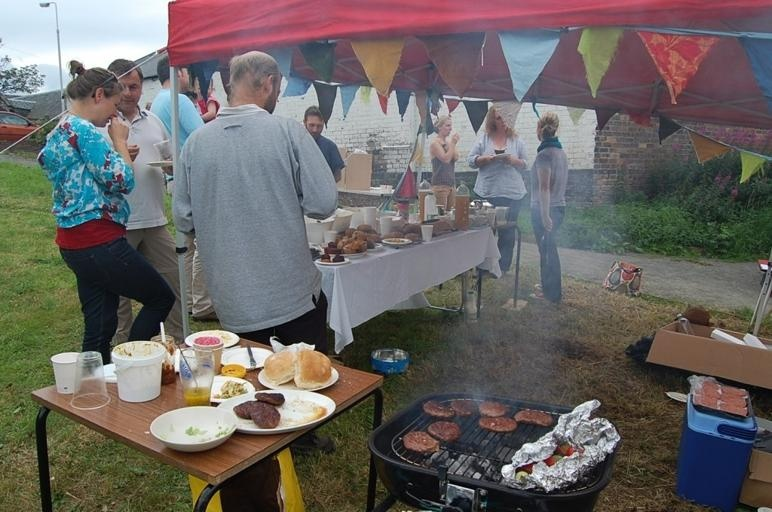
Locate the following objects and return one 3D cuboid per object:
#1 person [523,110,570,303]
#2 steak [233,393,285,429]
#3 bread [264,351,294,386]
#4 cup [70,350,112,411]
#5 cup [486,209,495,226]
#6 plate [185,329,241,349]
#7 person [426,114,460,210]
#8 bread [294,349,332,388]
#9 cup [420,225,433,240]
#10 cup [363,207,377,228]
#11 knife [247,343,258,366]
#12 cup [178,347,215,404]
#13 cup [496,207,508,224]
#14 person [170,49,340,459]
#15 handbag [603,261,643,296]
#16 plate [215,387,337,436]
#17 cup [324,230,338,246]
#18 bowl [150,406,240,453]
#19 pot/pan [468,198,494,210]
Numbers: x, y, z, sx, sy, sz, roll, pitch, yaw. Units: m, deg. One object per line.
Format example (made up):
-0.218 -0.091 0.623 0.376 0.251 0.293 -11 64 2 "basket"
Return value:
2.236 -0.624 7.558 0.527 2.597 0.711 5 16 18 "person"
-0.734 0.875 3.156 0.278 0.120 0.216 0 15 1 "steak"
-0.657 0.687 3.406 0.174 0.097 0.177 -19 28 9 "bread"
-1.750 0.746 3.249 0.255 0.336 0.270 0 7 0 "cup"
1.303 -0.472 6.852 0.109 0.193 0.262 3 15 14 "cup"
-1.153 0.542 3.691 0.186 0.025 0.183 -2 13 -42 "plate"
0.911 -1.387 8.026 0.422 1.675 0.389 16 18 37 "person"
-0.451 0.691 3.363 0.214 0.143 0.228 32 42 -19 "bread"
0.412 -0.232 5.580 0.138 0.150 0.139 -2 1 0 "cup"
-0.162 -0.384 5.649 0.131 0.207 0.115 -4 16 -13 "cup"
-0.876 0.644 3.589 0.039 0.014 0.275 5 15 -18 "knife"
-1.098 0.707 3.231 0.184 0.326 0.138 3 6 15 "cup"
1.495 -0.514 7.139 0.123 0.227 0.448 4 15 16 "cup"
-0.890 -0.169 4.091 0.902 2.404 0.936 2 4 23 "person"
3.658 0.351 8.489 0.548 0.394 0.544 6 16 23 "handbag"
-0.655 0.887 3.162 0.722 0.130 0.356 3 10 -2 "plate"
-0.517 -0.168 5.120 0.121 0.140 0.140 1 -1 4 "cup"
-1.048 0.940 3.001 0.456 0.172 0.176 -2 15 -6 "bowl"
1.291 -0.687 7.423 0.418 0.213 0.571 1 5 14 "pot/pan"
